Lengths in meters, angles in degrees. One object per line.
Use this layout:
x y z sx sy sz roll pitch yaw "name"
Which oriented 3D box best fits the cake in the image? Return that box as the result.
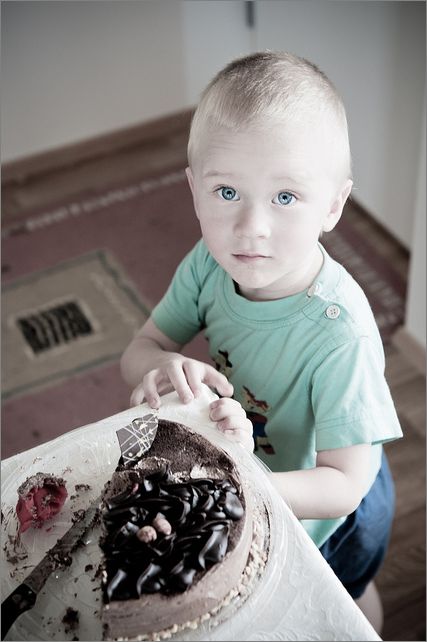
-0.025 0.168 0.489 0.141 0.076 0.186 -6 24 -4 "cake"
